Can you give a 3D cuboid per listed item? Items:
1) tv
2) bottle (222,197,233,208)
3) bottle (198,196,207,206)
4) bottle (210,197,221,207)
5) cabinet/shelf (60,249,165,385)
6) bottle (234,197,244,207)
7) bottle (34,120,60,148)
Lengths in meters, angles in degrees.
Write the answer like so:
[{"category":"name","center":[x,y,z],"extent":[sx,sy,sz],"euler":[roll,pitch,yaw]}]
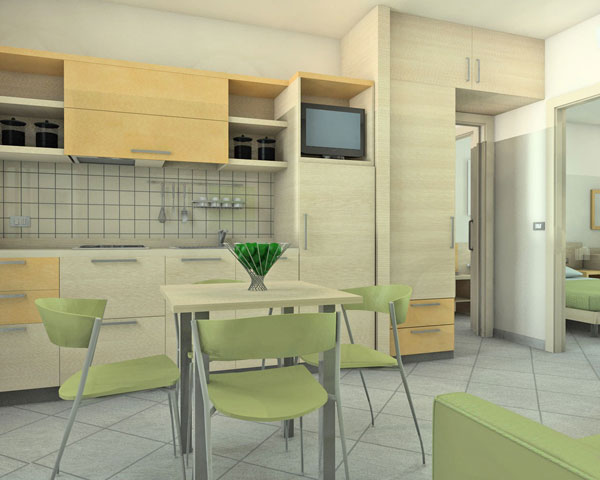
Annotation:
[{"category":"tv","center":[0.161,-0.935,4.166],"extent":[0.751,0.409,0.366],"euler":[-7,11,-40]},{"category":"bottle","center":[-0.664,-0.336,4.283],"extent":[0.114,0.083,0.099],"euler":[1,-2,-19]},{"category":"bottle","center":[-0.853,-0.343,4.174],"extent":[0.091,0.068,0.144],"euler":[3,13,-9]},{"category":"bottle","center":[-0.745,-0.333,4.233],"extent":[0.110,0.082,0.093],"euler":[0,-1,-25]},{"category":"cabinet/shelf","center":[-1.290,0.550,3.738],"extent":[0.876,0.873,0.597],"euler":[-1,6,15]},{"category":"bottle","center":[-0.556,-0.342,4.322],"extent":[0.105,0.070,0.100],"euler":[-1,-2,0]},{"category":"bottle","center":[-1.946,-0.792,3.670],"extent":[0.162,0.195,0.269],"euler":[-2,5,-25]}]
